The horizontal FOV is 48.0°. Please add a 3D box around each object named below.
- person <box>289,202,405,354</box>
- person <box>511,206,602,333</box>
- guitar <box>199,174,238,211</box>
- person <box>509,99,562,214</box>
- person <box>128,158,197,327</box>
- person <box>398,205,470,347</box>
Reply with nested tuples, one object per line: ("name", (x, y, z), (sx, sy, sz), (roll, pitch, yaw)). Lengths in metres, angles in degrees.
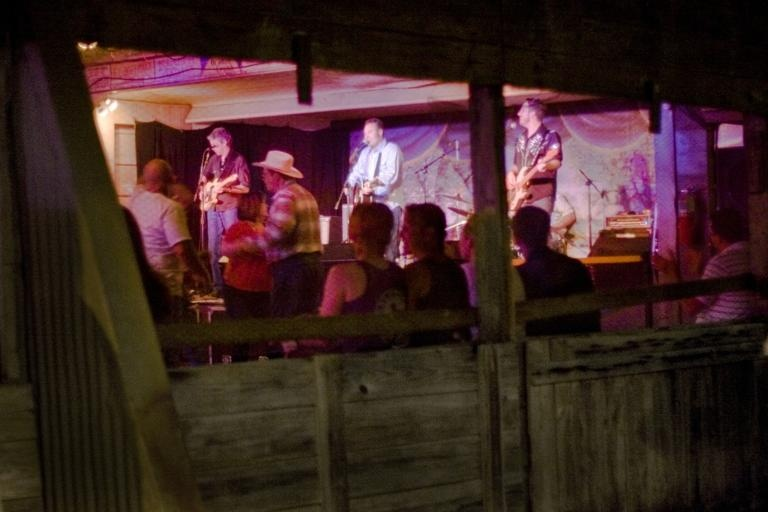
("person", (-0.245, 0.140, 5.723), (0.765, 0.788, 0.481), (-3, -2, -8))
("person", (1.197, 0.092, 6.006), (0.557, 0.804, 0.365), (-4, -2, 9))
("guitar", (-2.083, -0.777, 10.845), (0.592, 0.254, 0.083), (-31, -29, 30))
("person", (1.689, -1.087, 9.760), (0.535, 1.133, 0.716), (-3, -2, -16))
("person", (-1.711, -0.126, 6.687), (0.502, 0.827, 0.531), (-3, -2, -28))
("person", (0.352, 0.114, 5.915), (0.432, 0.806, 0.476), (-4, -2, 2))
